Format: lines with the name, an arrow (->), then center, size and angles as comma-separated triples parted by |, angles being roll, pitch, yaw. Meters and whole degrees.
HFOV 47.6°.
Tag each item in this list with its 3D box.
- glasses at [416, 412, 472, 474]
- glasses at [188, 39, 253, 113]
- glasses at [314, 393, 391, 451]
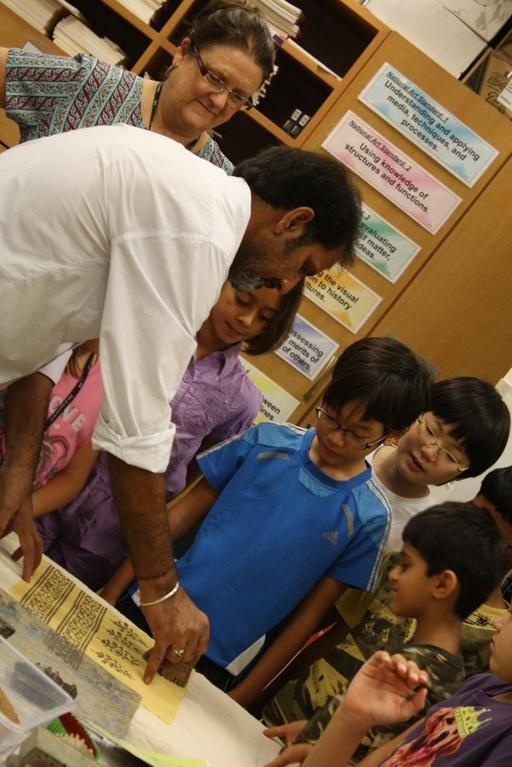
glasses -> 0.501, 0.166, 1.571 | 0.149, 0.048, 0.150 | 45, -14, 10
glasses -> -0.105, -0.846, 1.590 | 0.153, 0.046, 0.154 | 17, 39, -52
glasses -> 0.184, 0.097, 1.248 | 0.119, 0.047, 0.120 | 23, -31, 29
